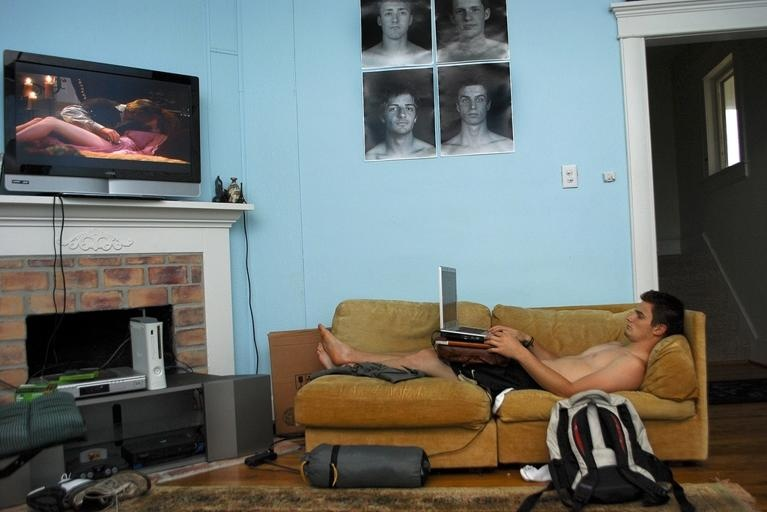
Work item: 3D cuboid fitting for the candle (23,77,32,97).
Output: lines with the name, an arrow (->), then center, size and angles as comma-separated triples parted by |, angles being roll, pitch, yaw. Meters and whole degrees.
candle -> -2.402, -1.153, 4.218 | 0.052, 0.123, 0.011 | -4, 3, -5

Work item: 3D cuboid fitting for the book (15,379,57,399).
book -> -2.189, 0.837, 3.915 | 0.172, 0.047, 0.171 | 0, 1, -18

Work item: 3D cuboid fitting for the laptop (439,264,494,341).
laptop -> 0.550, 0.311, 4.273 | 0.396, 0.560, 0.584 | 1, -3, 8

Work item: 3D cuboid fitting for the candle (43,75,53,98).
candle -> -2.288, -1.168, 4.257 | 0.066, 0.127, 0.011 | -5, 3, -29

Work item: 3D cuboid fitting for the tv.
tv -> -2.024, -0.903, 4.365 | 1.075, 0.773, 0.317 | 3, -11, -21

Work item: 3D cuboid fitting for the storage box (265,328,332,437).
storage box -> -0.716, 0.971, 4.700 | 0.540, 0.723, 0.545 | -12, -22, 0

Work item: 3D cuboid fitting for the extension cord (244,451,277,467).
extension cord -> -0.809, 1.332, 4.090 | 0.130, 0.039, 0.100 | -9, -1, -15

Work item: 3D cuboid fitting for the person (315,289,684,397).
person -> 0.615, 0.697, 4.336 | 2.577, 0.798, 0.847 | 1, -1, 11
